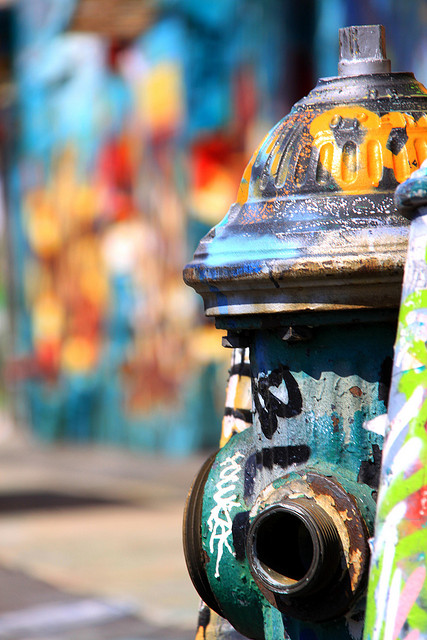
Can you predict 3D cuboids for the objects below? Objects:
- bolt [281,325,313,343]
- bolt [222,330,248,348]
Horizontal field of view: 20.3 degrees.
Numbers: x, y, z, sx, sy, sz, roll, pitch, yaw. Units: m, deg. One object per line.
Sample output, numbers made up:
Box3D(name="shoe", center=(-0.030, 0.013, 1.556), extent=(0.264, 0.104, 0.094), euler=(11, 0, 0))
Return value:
Box3D(name="bolt", center=(0.186, 0.030, 2.686), extent=(0.076, 0.026, 0.060), euler=(9, -7, 27))
Box3D(name="bolt", center=(0.051, 0.046, 2.865), extent=(0.036, 0.062, 0.070), euler=(-3, 5, -31))
